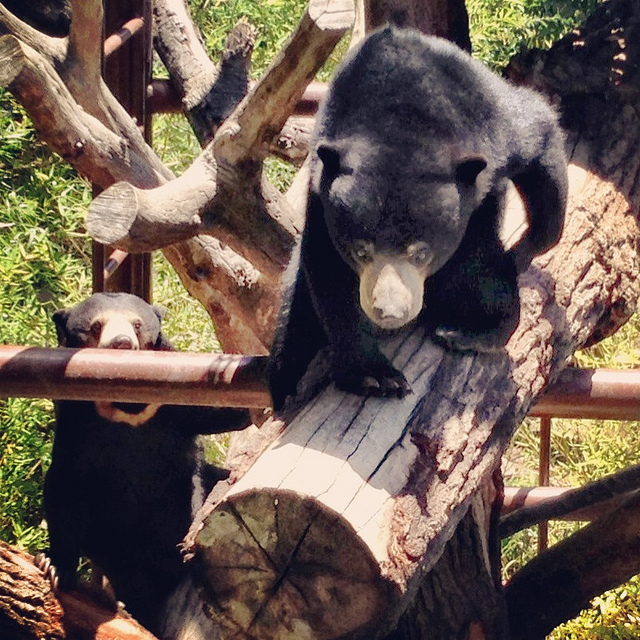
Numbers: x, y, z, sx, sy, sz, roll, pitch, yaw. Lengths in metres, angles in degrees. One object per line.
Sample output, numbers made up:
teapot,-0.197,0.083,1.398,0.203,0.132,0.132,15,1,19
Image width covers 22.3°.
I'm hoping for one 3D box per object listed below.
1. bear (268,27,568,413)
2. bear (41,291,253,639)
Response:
bear,0.350,-0.441,5.513,0.862,1.106,1.535,4,24,13
bear,-0.655,0.545,6.006,0.456,1.740,0.744,-2,14,-7
